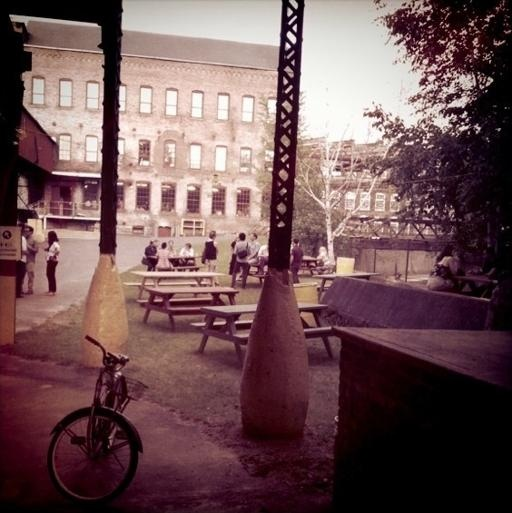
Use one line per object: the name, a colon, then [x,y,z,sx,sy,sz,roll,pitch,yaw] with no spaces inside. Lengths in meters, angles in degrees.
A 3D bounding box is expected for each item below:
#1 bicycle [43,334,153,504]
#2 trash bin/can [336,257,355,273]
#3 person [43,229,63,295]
bicycle: [-1.213,1.181,4.056,0.726,1.199,0.749,-4,4,-29]
trash bin/can: [3.305,0.324,19.693,0.645,0.787,0.510,1,4,2]
person: [-5.734,0.137,15.024,0.340,1.717,1.399,-4,4,-22]
